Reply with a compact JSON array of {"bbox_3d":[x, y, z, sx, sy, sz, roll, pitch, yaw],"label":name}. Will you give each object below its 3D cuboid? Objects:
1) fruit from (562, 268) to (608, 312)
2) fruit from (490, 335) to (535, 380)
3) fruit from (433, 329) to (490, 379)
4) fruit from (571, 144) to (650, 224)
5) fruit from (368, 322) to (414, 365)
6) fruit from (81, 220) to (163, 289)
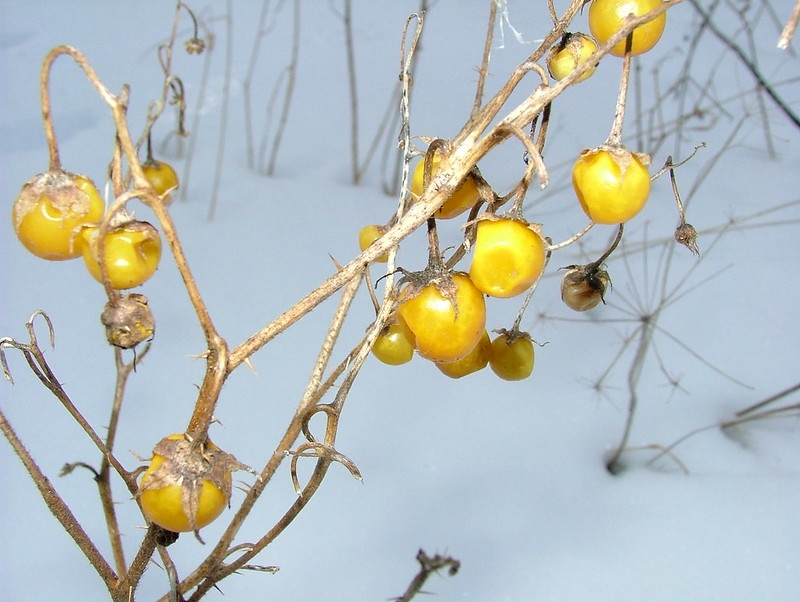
[{"bbox_3d":[0.247,-0.011,1.368,0.054,0.071,0.064,8,-7,0],"label":"fruit"},{"bbox_3d":[0.141,0.075,1.270,0.055,0.071,0.058,2,-8,-16],"label":"fruit"},{"bbox_3d":[0.081,0.071,1.201,0.062,0.070,0.043,-4,-58,-2],"label":"fruit"},{"bbox_3d":[0.224,-0.125,1.142,0.080,0.094,0.099,13,-77,5],"label":"fruit"},{"bbox_3d":[-0.009,0.044,1.166,0.040,0.042,0.051,10,-47,36],"label":"fruit"},{"bbox_3d":[-0.294,-0.052,1.098,0.059,0.072,0.065,7,-10,2],"label":"fruit"}]
